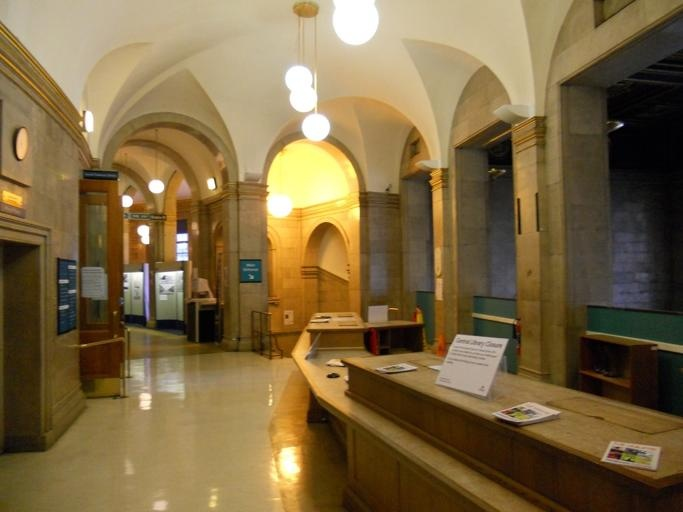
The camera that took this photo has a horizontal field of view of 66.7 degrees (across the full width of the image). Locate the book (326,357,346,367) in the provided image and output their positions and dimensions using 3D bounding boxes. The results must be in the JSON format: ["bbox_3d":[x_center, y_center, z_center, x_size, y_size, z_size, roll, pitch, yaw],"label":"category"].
[{"bbox_3d":[-0.094,1.467,7.195,0.310,0.119,0.392,1,-2,3],"label":"book"}]

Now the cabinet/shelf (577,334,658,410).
[{"bbox_3d":[3.573,1.477,6.634,0.286,0.914,0.872,4,-6,-16],"label":"cabinet/shelf"}]

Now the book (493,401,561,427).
[{"bbox_3d":[1.408,1.197,3.946,0.467,0.074,0.297,-1,3,-27],"label":"book"}]

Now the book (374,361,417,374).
[{"bbox_3d":[0.539,1.100,5.142,0.416,0.033,0.355,0,3,-13],"label":"book"}]

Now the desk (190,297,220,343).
[{"bbox_3d":[-4.104,1.968,15.530,1.141,1.596,1.285,0,5,-12],"label":"desk"}]
